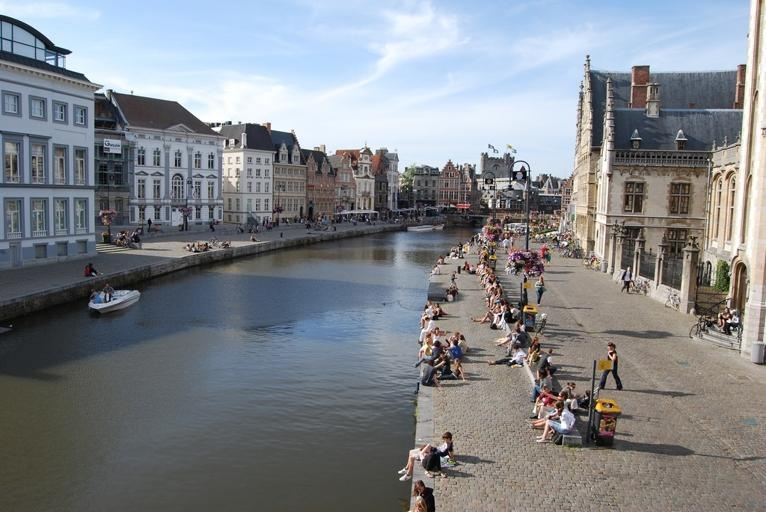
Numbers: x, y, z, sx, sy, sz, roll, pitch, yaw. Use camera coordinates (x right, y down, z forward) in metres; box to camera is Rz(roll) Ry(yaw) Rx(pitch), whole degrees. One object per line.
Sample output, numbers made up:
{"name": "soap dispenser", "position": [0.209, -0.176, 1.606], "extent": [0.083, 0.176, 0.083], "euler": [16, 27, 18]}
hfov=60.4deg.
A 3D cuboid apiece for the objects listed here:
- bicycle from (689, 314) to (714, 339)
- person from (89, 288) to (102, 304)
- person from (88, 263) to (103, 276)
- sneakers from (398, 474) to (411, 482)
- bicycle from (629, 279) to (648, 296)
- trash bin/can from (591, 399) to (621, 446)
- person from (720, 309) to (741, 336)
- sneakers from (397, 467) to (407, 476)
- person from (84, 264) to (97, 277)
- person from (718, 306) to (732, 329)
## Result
{"name": "bicycle", "position": [19.053, 4.238, 39.449], "extent": [1.303, 1.101, 1.900], "euler": [5, 9, 37]}
{"name": "person", "position": [-20.784, 2.854, 47.320], "extent": [0.978, 1.311, 1.312], "euler": [3, -9, -17]}
{"name": "person", "position": [-23.660, 1.100, 54.226], "extent": [0.862, 0.850, 0.585], "euler": [-4, 30, -1]}
{"name": "sneakers", "position": [0.876, 9.001, 26.679], "extent": [0.520, 0.220, 0.192], "euler": [-2, -3, 1]}
{"name": "bicycle", "position": [20.314, 2.442, 52.314], "extent": [0.929, 1.149, 1.752], "euler": [0, 1, -17]}
{"name": "trash bin/can", "position": [9.189, 6.904, 27.338], "extent": [1.085, 1.855, 0.867], "euler": [0, 7, 5]}
{"name": "person", "position": [20.362, 3.785, 38.593], "extent": [1.857, 1.145, 0.987], "euler": [-4, 4, -39]}
{"name": "sneakers", "position": [0.801, 8.885, 27.203], "extent": [0.210, 0.225, 0.576], "euler": [12, -14, -36]}
{"name": "person", "position": [-23.183, 1.085, 52.321], "extent": [0.992, 0.889, 1.875], "euler": [-4, 8, -24]}
{"name": "person", "position": [20.253, 3.662, 39.019], "extent": [0.460, 0.914, 0.571], "euler": [14, 5, 13]}
